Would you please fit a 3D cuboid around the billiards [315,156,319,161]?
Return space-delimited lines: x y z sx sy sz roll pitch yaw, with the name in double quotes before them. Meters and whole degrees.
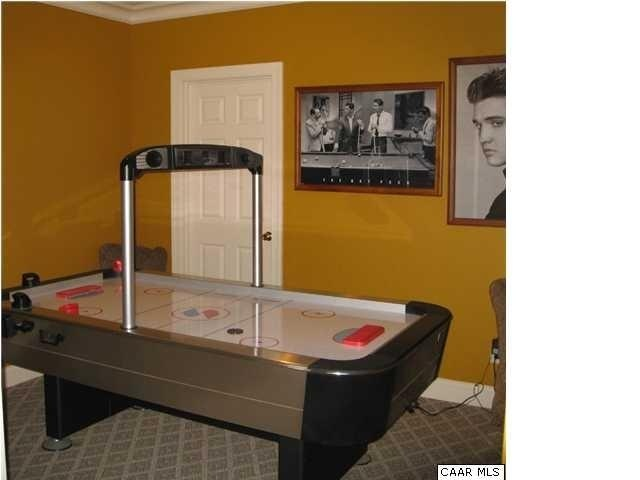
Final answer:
"billiards" -0.023 -0.561 3.718 0.032 0.030 0.058 -1 3 6
